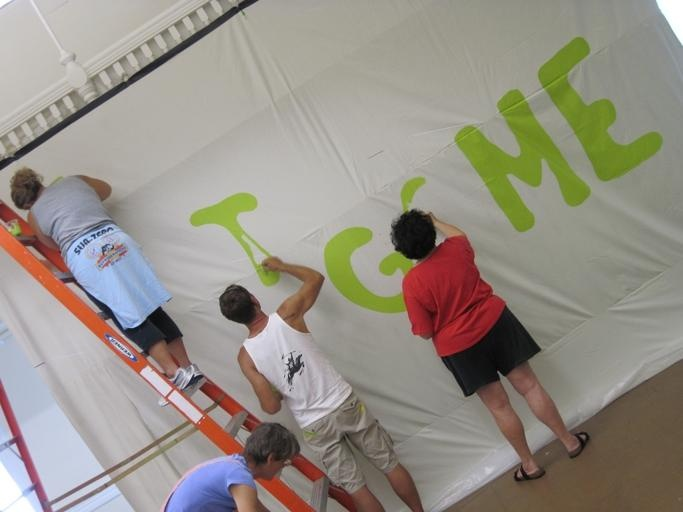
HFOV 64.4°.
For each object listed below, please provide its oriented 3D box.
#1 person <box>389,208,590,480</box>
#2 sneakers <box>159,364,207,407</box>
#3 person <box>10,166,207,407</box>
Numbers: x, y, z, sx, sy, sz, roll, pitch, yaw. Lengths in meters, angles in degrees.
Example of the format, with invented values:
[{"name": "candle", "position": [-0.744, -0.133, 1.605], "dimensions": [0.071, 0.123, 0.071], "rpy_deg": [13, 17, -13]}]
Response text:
[{"name": "person", "position": [0.945, 0.615, 3.706], "dimensions": [0.739, 1.669, 0.306], "rpy_deg": [-29, 9, 4]}, {"name": "sneakers", "position": [-1.114, 0.970, 3.818], "dimensions": [0.468, 0.202, 0.184], "rpy_deg": [-51, 16, 44]}, {"name": "person", "position": [-1.766, 0.123, 3.944], "dimensions": [0.805, 2.128, 0.564], "rpy_deg": [-30, -23, -49]}]
